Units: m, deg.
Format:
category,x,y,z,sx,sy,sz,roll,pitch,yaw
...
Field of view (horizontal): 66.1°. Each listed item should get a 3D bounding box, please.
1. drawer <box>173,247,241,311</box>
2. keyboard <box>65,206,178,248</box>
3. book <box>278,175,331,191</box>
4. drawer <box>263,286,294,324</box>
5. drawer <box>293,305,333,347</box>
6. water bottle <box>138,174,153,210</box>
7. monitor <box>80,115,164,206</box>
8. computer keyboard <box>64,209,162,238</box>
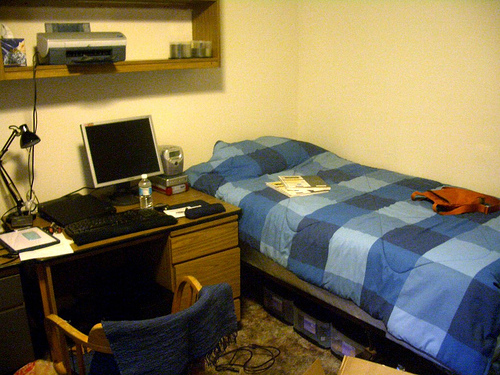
category,x,y,z,sx,sy,sz,roll,pitch,yaw
drawer,-0.253,0.486,2.102,0.402,0.367,0.209,-8,10,-43
keyboard,-0.742,0.210,2.225,0.573,0.058,0.275,-12,19,-28
book,0.397,-0.031,2.816,0.181,0.037,0.182,-1,21,-18
drawer,0.212,0.822,2.681,0.133,0.164,0.243,-18,21,-39
drawer,0.450,0.908,2.548,0.307,0.199,0.184,17,21,35
water bottle,-0.667,0.029,2.449,0.082,0.205,0.118,-8,18,-16
monitor,-0.872,-0.178,2.589,0.488,0.536,0.324,-15,26,-41
computer keyboard,-0.782,0.206,2.219,0.520,0.044,0.251,-12,19,-28
